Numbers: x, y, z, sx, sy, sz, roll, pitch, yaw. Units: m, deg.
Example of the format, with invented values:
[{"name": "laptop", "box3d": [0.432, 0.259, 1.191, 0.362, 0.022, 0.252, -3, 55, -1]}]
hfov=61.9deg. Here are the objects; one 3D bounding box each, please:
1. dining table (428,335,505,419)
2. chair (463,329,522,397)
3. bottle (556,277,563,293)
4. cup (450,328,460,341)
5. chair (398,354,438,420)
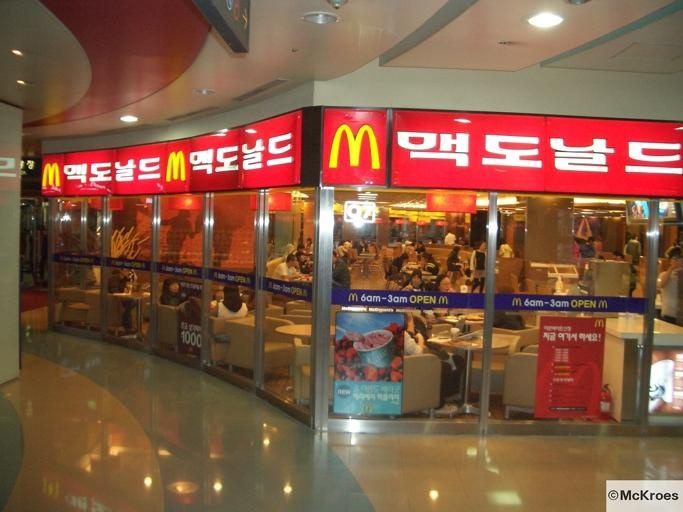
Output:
[{"name": "dining table", "box3d": [1.497, 1.452, 6.737, 0.796, 0.831, 0.755, 10, -11, -20]}, {"name": "chair", "box3d": [1.772, 1.370, 6.816, 0.470, 0.732, 0.572, 2, -1, 23]}, {"name": "bottle", "box3d": [2.525, 0.339, 6.588, 0.088, 0.188, 0.020, 0, 6, -13]}, {"name": "cup", "box3d": [1.305, 0.906, 6.538, 0.115, 0.094, 0.092, -1, 6, -8]}, {"name": "chair", "box3d": [0.960, 1.530, 6.898, 0.572, 0.561, 0.597, 4, -12, -7]}]
